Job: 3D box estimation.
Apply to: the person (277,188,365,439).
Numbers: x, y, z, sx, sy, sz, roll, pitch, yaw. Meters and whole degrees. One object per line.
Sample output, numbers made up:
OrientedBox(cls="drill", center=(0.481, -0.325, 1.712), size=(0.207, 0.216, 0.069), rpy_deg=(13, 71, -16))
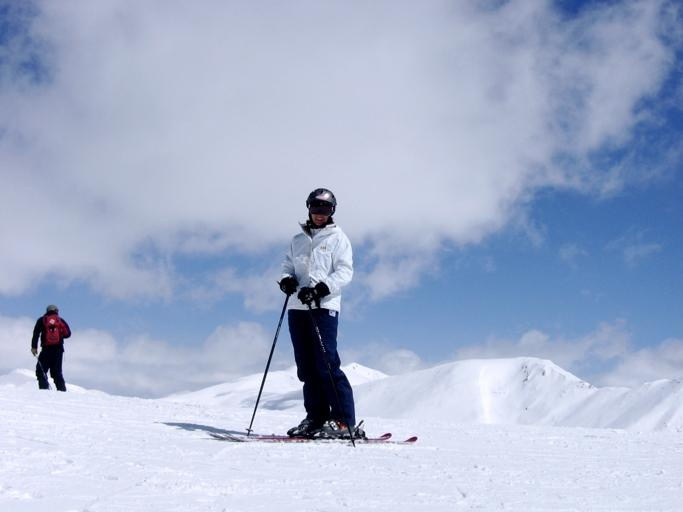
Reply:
OrientedBox(cls="person", center=(-0.323, 0.797, 10.299), size=(1.084, 3.507, 0.926), rpy_deg=(3, -5, -5))

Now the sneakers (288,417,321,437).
OrientedBox(cls="sneakers", center=(-0.518, 2.431, 10.252), size=(0.507, 0.238, 0.186), rpy_deg=(-1, -3, -2))

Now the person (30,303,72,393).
OrientedBox(cls="person", center=(-6.373, 2.024, 16.075), size=(0.723, 1.836, 0.762), rpy_deg=(5, -6, -23))
